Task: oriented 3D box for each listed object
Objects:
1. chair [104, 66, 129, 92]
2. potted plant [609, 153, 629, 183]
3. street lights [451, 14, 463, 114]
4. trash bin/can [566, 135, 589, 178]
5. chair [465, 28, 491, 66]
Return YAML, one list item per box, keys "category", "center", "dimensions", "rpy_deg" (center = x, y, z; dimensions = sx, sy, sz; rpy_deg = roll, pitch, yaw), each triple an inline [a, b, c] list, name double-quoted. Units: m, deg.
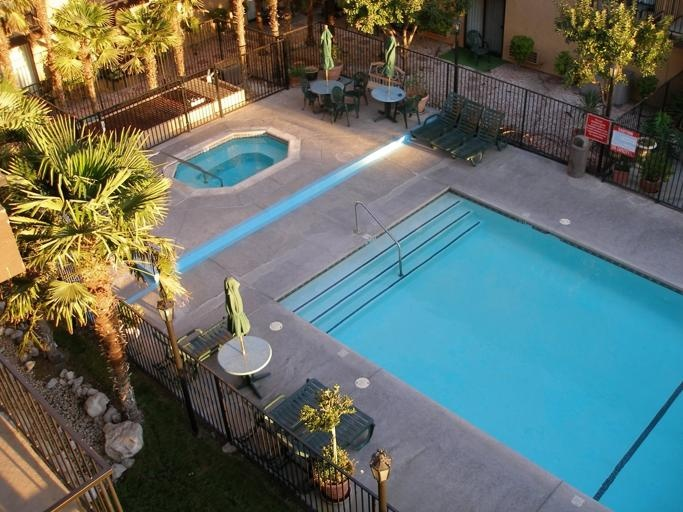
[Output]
- category: "chair"
  center: [-9.585, -7.511, 21.828]
  dimensions: [0.890, 0.837, 1.019]
  rpy_deg: [-15, 40, -18]
- category: "potted plant"
  center: [8.401, -2.686, 15.636]
  dimensions: [0.610, 0.770, 0.551]
  rpy_deg: [4, 36, 11]
- category: "street lights"
  center: [4.059, -7.447, 18.457]
  dimensions: [0.430, 2.334, 0.445]
  rpy_deg: [-5, 65, 10]
- category: "trash bin/can"
  center: [7.254, -3.047, 15.821]
  dimensions: [0.603, 1.201, 0.401]
  rpy_deg: [16, 40, 22]
- category: "chair"
  center: [6.079, -9.488, 23.140]
  dimensions: [0.820, 1.526, 1.112]
  rpy_deg: [-8, 28, -26]
